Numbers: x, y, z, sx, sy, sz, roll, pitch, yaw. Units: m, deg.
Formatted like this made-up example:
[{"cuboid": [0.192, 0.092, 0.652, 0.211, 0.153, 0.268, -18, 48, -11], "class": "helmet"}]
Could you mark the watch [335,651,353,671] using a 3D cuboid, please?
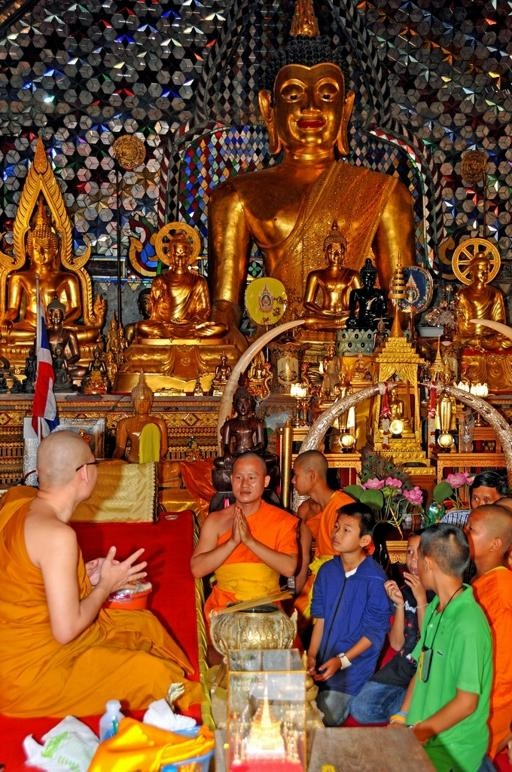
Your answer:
[{"cuboid": [0.257, 0.809, 2.494, 0.042, 0.051, 0.054, -8, -36, -17], "class": "watch"}]

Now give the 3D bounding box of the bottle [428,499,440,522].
[{"cuboid": [0.775, 0.542, 3.714, 0.056, 0.072, 0.019, 9, 2, 13], "class": "bottle"}]

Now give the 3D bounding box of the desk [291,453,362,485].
[{"cuboid": [0.383, 0.382, 4.091, 0.354, 0.188, 0.211, -1, 1, -1], "class": "desk"}]

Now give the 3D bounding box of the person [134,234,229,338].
[{"cuboid": [-0.629, -0.860, 7.333, 0.723, 0.959, 0.332, 3, -7, -8], "class": "person"}]

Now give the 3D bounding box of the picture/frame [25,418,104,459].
[{"cuboid": [-1.174, 0.334, 5.306, 0.581, 0.268, 0.367, 0, -4, -1], "class": "picture/frame"}]

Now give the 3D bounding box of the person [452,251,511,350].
[{"cuboid": [1.982, -0.732, 7.482, 0.440, 0.896, 0.396, 1, -7, 12], "class": "person"}]

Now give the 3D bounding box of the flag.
[{"cuboid": [-1.003, -0.131, 4.093, 0.139, 0.760, 0.343, 4, -7, -13], "class": "flag"}]

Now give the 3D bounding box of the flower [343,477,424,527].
[{"cuboid": [0.589, 0.499, 3.821, 0.311, 0.187, 0.302, 8, -16, -3], "class": "flower"}]
